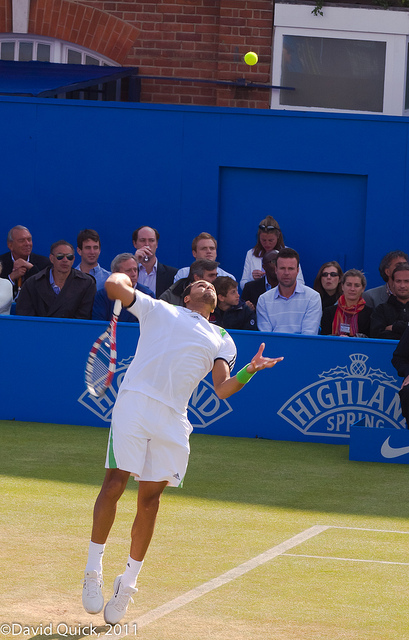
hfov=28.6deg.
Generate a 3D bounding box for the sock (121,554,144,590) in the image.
[{"bbox_3d":[-0.278,0.991,3.189,0.099,0.137,0.051,12,-7,19],"label":"sock"}]

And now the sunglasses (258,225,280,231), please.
[{"bbox_3d":[0.719,-1.029,8.923,0.192,0.064,0.086,4,3,2],"label":"sunglasses"}]

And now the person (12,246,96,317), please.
[{"bbox_3d":[-1.513,-0.369,8.066,0.711,1.107,0.349,5,-10,-11],"label":"person"}]

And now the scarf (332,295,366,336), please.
[{"bbox_3d":[1.443,-0.029,7.827,0.275,0.414,0.231,-1,-6,30],"label":"scarf"}]

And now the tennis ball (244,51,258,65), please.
[{"bbox_3d":[0.696,-3.895,11.879,0.185,0.174,0.209,3,3,-6],"label":"tennis ball"}]

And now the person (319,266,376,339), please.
[{"bbox_3d":[1.404,-0.160,7.619,0.494,0.652,0.706,4,3,3],"label":"person"}]

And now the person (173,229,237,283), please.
[{"bbox_3d":[0.016,-0.596,8.322,0.832,0.596,0.382,-2,2,-13],"label":"person"}]

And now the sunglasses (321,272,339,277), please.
[{"bbox_3d":[1.334,-0.481,8.457,0.177,0.052,0.093,4,3,1],"label":"sunglasses"}]

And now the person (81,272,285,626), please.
[{"bbox_3d":[-0.158,0.486,3.324,0.812,1.319,0.396,1,4,-39],"label":"person"}]
